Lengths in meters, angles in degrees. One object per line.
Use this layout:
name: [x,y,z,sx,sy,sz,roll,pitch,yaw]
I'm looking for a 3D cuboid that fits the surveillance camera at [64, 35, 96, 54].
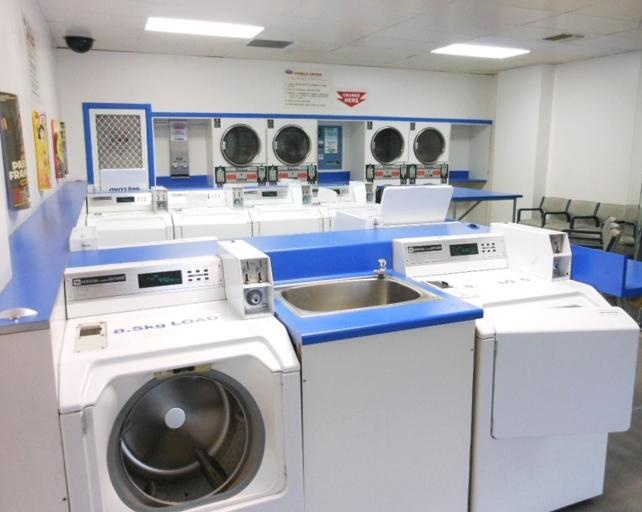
surveillance camera: [-2.678,-2.328,5.437,0.304,0.163,0.226,4,12,15]
